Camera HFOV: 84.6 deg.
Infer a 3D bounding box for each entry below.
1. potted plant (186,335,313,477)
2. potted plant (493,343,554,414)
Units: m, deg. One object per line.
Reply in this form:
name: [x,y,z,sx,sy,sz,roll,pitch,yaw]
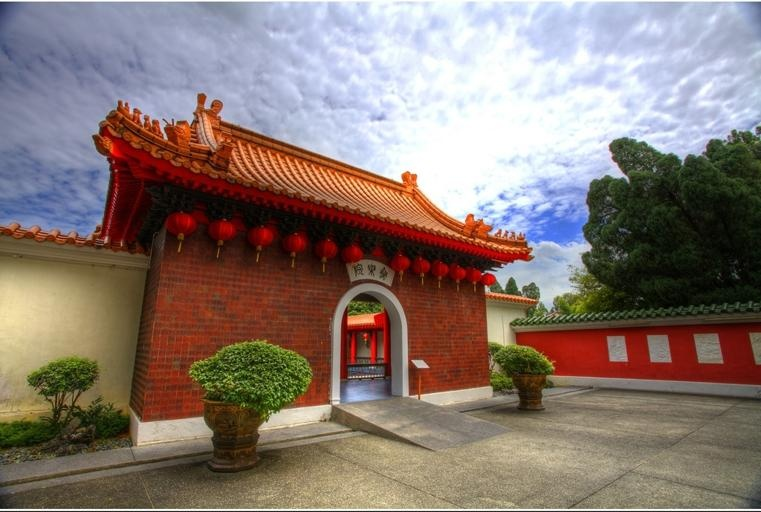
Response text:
potted plant: [-2.242,2.555,7.369,1.661,1.993,2.002,19,-25,-41]
potted plant: [3.628,3.047,10.494,1.167,1.436,1.331,-14,-30,32]
